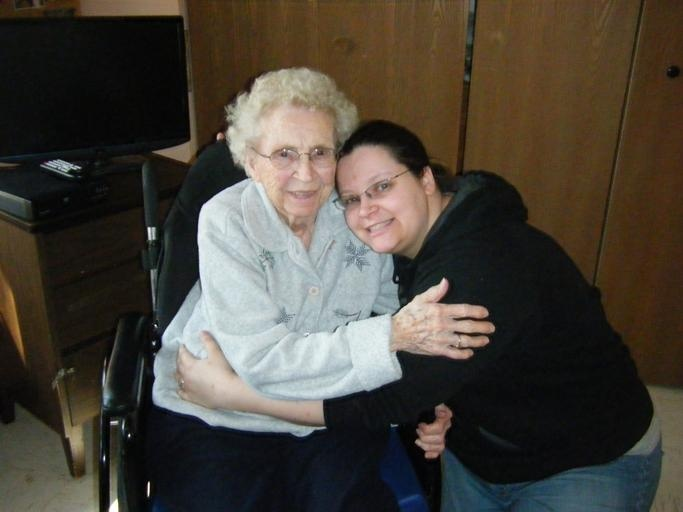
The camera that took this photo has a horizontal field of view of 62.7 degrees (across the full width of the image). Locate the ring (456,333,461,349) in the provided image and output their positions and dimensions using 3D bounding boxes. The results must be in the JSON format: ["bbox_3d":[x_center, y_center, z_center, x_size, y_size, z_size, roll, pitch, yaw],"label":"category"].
[{"bbox_3d":[0.304,0.229,1.459,0.009,0.025,0.018,5,-7,-14],"label":"ring"}]
